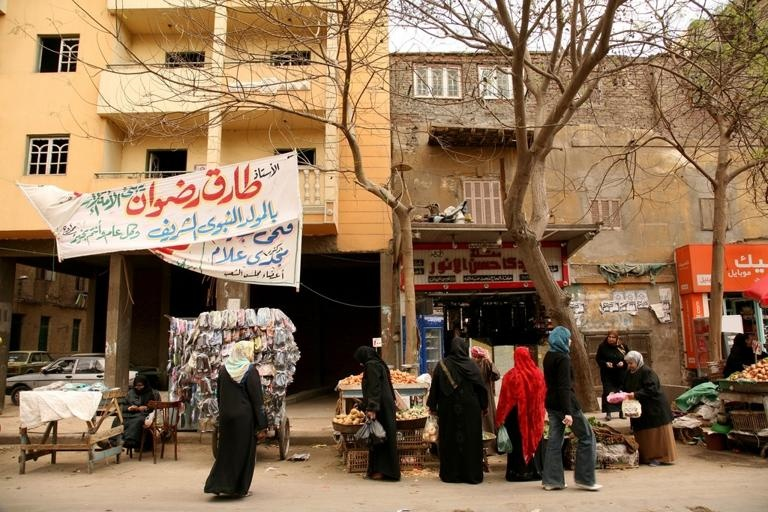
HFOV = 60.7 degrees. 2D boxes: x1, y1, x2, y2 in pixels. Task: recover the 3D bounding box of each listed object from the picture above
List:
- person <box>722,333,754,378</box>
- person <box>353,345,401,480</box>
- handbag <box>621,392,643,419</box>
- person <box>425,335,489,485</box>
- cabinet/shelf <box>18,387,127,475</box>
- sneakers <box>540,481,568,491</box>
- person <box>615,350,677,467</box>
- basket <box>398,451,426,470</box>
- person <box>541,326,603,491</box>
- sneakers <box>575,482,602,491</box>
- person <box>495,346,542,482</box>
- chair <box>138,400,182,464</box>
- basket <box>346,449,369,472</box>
[{"bbox_3d":[8.294,2.319,15.342,0.688,1.004,0.885,-5,-10,26],"label":"person"},{"bbox_3d":[-0.121,3.062,12.797,0.818,2.583,0.578,-1,-9,-3],"label":"person"},{"bbox_3d":[5.046,3.054,13.336,0.352,0.512,0.281,-6,-10,28],"label":"handbag"},{"bbox_3d":[1.439,2.958,12.661,1.104,2.726,0.309,-2,-9,6],"label":"person"},{"bbox_3d":[-6.706,3.680,14.047,1.999,1.656,2.450,6,-11,-37],"label":"cabinet/shelf"},{"bbox_3d":[3.161,4.218,12.136,0.478,0.201,0.159,-3,-1,-10],"label":"sneakers"},{"bbox_3d":[5.437,3.100,13.469,0.913,2.286,0.545,-4,-9,16],"label":"person"},{"bbox_3d":[0.573,4.142,13.282,0.547,0.364,0.310,1,-19,0],"label":"basket"},{"bbox_3d":[3.390,2.804,12.202,0.989,2.998,0.595,-2,-9,8],"label":"person"},{"bbox_3d":[3.767,4.219,12.076,0.448,0.186,0.171,-3,-7,13],"label":"sneakers"},{"bbox_3d":[2.640,3.030,12.575,0.927,2.528,0.615,-2,-9,9],"label":"person"},{"bbox_3d":[-4.931,3.847,14.460,0.833,1.230,0.878,6,-16,-32],"label":"chair"},{"bbox_3d":[-0.540,4.133,13.326,0.434,0.414,0.443,-5,-11,21],"label":"basket"}]
